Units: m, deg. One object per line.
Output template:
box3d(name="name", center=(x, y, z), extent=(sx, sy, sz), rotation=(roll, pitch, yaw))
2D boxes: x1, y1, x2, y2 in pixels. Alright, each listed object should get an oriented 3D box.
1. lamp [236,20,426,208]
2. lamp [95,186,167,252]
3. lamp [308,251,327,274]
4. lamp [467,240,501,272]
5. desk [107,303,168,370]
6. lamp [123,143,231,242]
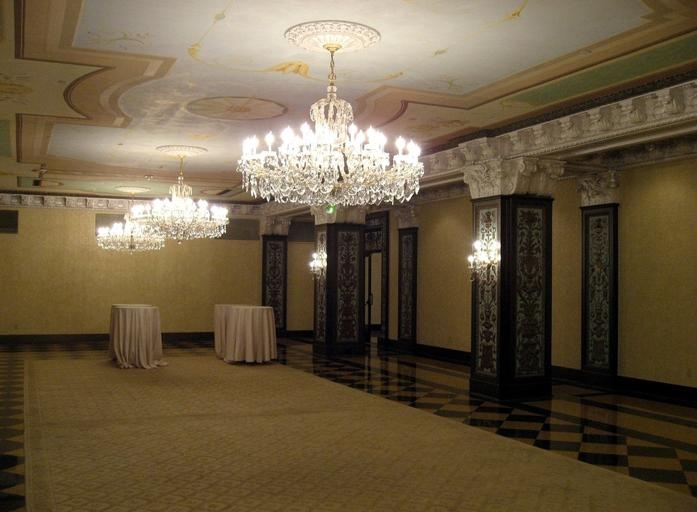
box3d(name="lamp", center=(-0.175, -1.486, 5.383), extent=(1.954, 1.668, 1.942), rotation=(3, 11, 15))
box3d(name="lamp", center=(-5.502, -1.033, 12.361), extent=(1.770, 1.681, 1.724), rotation=(1, -5, -5))
box3d(name="lamp", center=(-0.773, 0.164, 12.315), extent=(0.163, 0.580, 0.915), rotation=(1, -2, -21))
box3d(name="lamp", center=(2.114, 0.014, 7.889), extent=(0.181, 0.538, 0.557), rotation=(2, 3, -31))
box3d(name="desk", center=(-4.570, 1.617, 10.613), extent=(1.064, 1.124, 1.113), rotation=(1, 5, -33))
box3d(name="lamp", center=(-3.346, -1.315, 10.006), extent=(2.023, 1.689, 1.965), rotation=(2, -5, -6))
